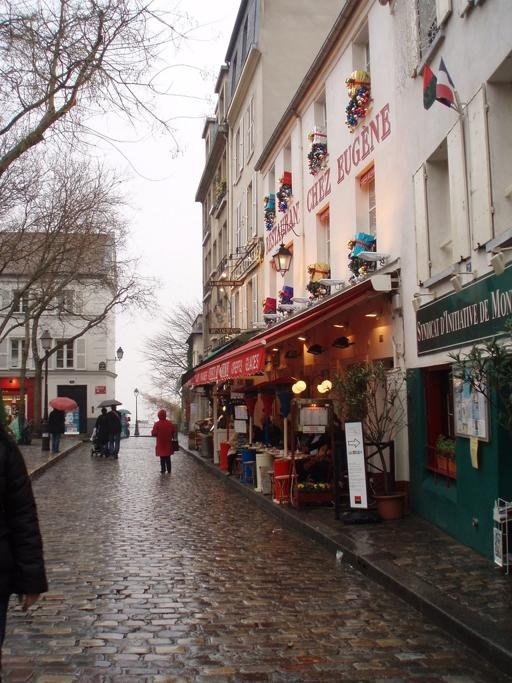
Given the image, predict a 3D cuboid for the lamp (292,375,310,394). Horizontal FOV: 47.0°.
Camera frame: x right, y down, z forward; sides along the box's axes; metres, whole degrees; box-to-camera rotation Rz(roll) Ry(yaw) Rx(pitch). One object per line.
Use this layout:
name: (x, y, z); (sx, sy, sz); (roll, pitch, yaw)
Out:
lamp: (1.086, 1.044, 14.092); (0.375, 0.393, 0.524); (-22, -2, -22)

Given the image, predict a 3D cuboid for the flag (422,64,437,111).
flag: (2.214, -3.245, 7.554); (0.111, 0.552, 0.623); (-5, -8, 13)

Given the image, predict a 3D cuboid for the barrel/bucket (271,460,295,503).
barrel/bucket: (0.492, 2.539, 10.749); (0.348, 0.759, 0.777); (-3, -8, -1)

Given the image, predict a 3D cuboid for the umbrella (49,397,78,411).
umbrella: (-8.705, 2.880, 27.220); (1.143, 0.421, 1.160); (7, -1, 14)

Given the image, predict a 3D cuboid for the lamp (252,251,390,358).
lamp: (1.499, -0.811, 13.614); (0.623, 0.765, 3.531); (13, -17, -14)

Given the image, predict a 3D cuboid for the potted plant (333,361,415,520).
potted plant: (1.863, 1.440, 9.632); (1.161, 2.431, 3.033); (-4, -8, 9)
